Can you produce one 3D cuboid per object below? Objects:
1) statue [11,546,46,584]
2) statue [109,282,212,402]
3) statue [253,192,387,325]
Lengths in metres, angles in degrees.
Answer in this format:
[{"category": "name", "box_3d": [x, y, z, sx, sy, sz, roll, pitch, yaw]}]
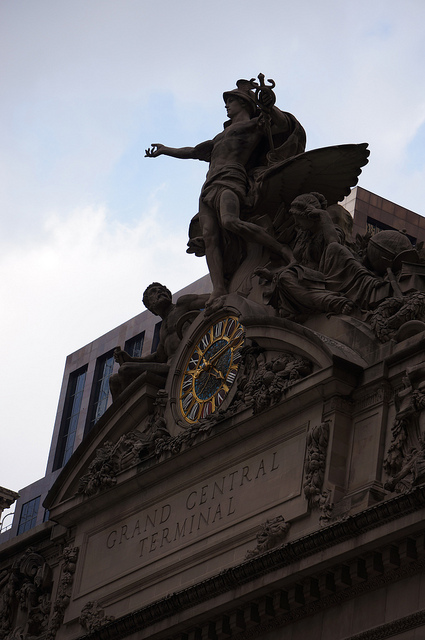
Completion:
[{"category": "statue", "box_3d": [-4.393, 5.873, 38.684, 0.489, 1.012, 1.061, 10, -23, -25]}, {"category": "statue", "box_3d": [-1.234, 0.325, 37.973, 2.499, 3.131, 1.181, -15, -26, 35]}, {"category": "statue", "box_3d": [2.272, -1.338, 34.131, 1.320, 3.757, 2.921, 10, -23, -24]}]
